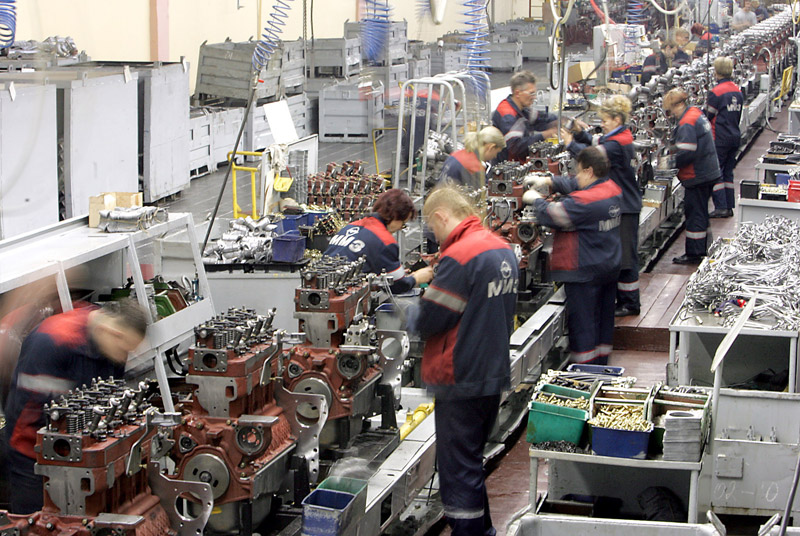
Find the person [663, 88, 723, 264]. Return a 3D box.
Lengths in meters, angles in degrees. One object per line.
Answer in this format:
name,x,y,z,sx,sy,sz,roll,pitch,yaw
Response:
person,3.663,-1.133,9.620,0.683,2.203,0.771,3,11,18

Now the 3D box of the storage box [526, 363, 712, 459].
storage box,1.320,0.899,4.569,0.688,0.245,0.689,4,14,16

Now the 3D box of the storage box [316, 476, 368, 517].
storage box,-0.300,1.145,3.938,0.208,0.196,0.206,2,12,4

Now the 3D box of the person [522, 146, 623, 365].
person,1.548,-0.081,6.766,0.777,1.960,0.611,3,11,17

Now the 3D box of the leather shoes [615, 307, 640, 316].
leather shoes,2.409,0.462,8.050,0.268,0.109,0.094,4,6,-5

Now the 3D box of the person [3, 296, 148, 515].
person,-1.681,0.708,3.915,0.729,1.055,0.425,-4,11,-20

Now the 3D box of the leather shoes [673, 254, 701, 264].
leather shoes,3.711,-0.118,9.766,0.280,0.119,0.122,6,15,18
